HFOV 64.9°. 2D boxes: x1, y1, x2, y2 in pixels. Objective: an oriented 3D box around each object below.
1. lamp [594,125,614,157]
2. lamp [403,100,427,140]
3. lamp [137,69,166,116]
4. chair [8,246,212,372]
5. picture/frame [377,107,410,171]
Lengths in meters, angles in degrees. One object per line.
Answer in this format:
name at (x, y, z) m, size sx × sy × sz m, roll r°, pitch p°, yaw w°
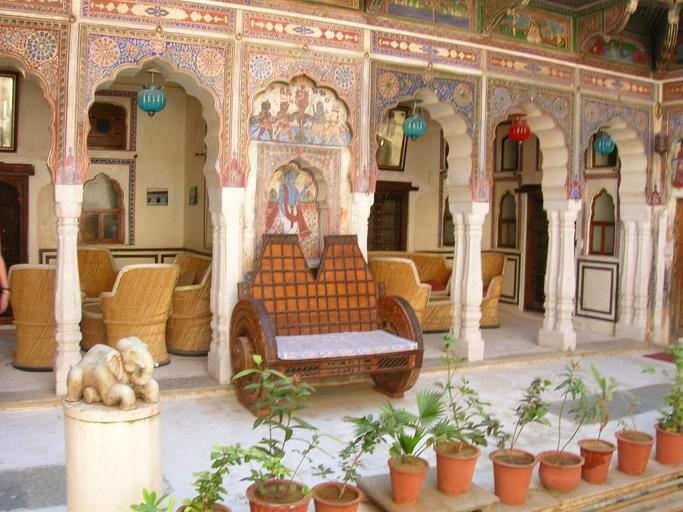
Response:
lamp at (4.690, -2.065, 9.548) m, size 0.361 × 0.597 × 0.365 m, roll -9°, pitch 13°, yaw -37°
lamp at (1.109, -2.074, 8.048) m, size 0.313 × 0.664 × 0.314 m, roll -10°, pitch 11°, yaw -41°
lamp at (-2.625, -2.241, 7.413) m, size 0.341 × 0.642 × 0.351 m, roll 1°, pitch 0°, yaw -36°
chair at (-3.169, 0.678, 8.751) m, size 2.449 × 1.523 × 4.361 m, roll 1°, pitch 1°, yaw -3°
picture/frame at (1.184, -2.599, 11.901) m, size 0.772 × 1.406 × 0.294 m, roll 0°, pitch 1°, yaw -36°
